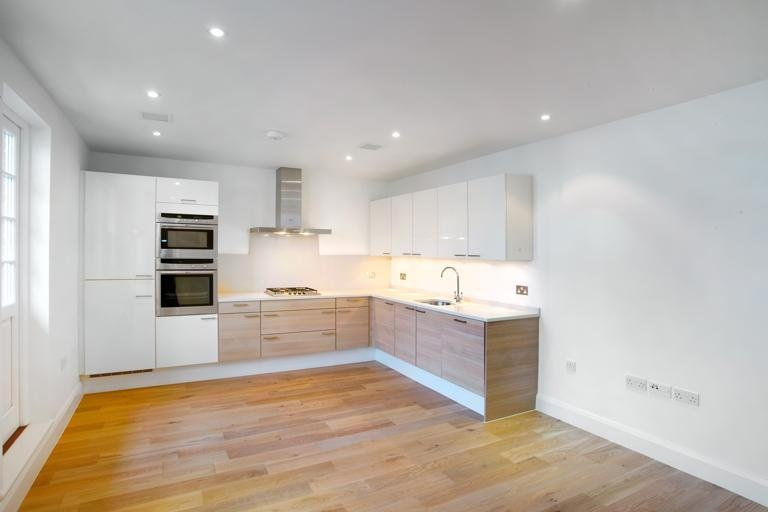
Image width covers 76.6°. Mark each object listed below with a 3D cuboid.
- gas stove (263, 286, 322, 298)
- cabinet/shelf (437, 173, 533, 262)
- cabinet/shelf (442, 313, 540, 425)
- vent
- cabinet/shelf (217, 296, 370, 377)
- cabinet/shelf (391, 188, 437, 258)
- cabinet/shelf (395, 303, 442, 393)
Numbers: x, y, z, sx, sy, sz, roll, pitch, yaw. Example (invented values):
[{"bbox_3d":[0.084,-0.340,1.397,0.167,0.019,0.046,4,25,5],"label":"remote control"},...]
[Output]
[{"bbox_3d":[-1.263,0.482,6.659,0.680,0.037,0.646,-1,7,-16],"label":"gas stove"},{"bbox_3d":[1.173,-0.420,5.442,0.418,0.985,1.135,1,-2,-32],"label":"cabinet/shelf"},{"bbox_3d":[1.101,1.137,5.602,0.658,1.007,1.128,-2,3,-22],"label":"cabinet/shelf"},{"bbox_3d":[-1.416,-0.773,6.827,0.991,0.980,1.176,6,8,39],"label":"vent"},{"bbox_3d":[-1.124,0.899,6.392,1.995,0.750,0.217,-3,9,-26],"label":"cabinet/shelf"},{"bbox_3d":[0.264,-0.390,6.569,0.401,0.828,1.044,9,9,43],"label":"cabinet/shelf"},{"bbox_3d":[0.535,0.998,5.958,0.371,0.781,0.972,-6,10,-36],"label":"cabinet/shelf"}]
